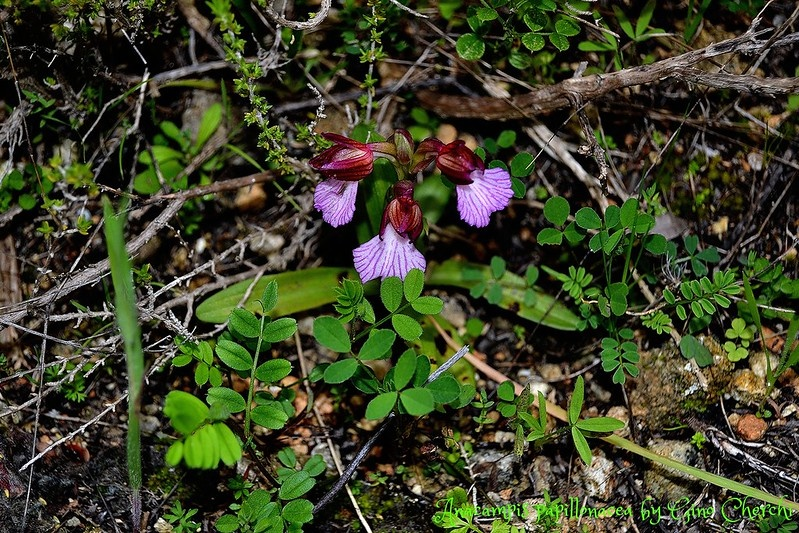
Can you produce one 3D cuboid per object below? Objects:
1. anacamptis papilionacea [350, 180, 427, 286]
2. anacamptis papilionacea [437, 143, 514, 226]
[{"bbox_3d":[-0.044,-0.109,3.378,0.315,0.538,0.227,14,-3,-1],"label":"anacamptis papilionacea"},{"bbox_3d":[0.380,-0.378,3.405,0.418,0.330,0.124,-2,-13,-23],"label":"anacamptis papilionacea"}]
